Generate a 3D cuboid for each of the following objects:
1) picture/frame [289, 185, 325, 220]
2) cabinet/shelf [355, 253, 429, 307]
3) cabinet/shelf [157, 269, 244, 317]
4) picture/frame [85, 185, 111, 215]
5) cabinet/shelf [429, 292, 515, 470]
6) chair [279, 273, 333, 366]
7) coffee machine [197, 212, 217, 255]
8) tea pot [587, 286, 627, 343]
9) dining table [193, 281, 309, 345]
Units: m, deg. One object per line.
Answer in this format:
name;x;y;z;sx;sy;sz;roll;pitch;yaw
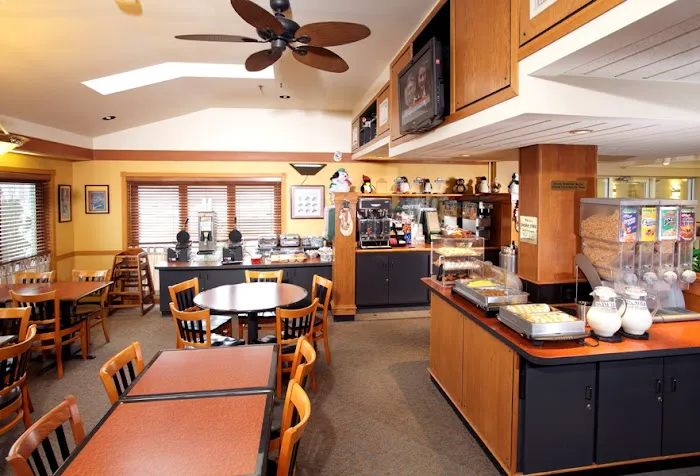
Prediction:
picture/frame;-0.778;-0.667;8.516;0.697;0.621;0.047;1;-1;-13
cabinet/shelf;0.624;0.637;7.611;0.995;0.650;0.360;0;-1;-11
cabinet/shelf;-2.308;0.954;7.321;1.374;0.605;0.730;0;0;-8
picture/frame;-4.272;-0.679;8.078;0.566;0.671;0.046;0;5;-13
cabinet/shelf;1.148;1.348;4.396;0.537;0.867;1.489;1;8;-7
chair;-0.448;0.932;6.202;0.935;1.266;0.822;2;-2;-14
coffee machine;-2.303;-0.093;7.728;0.307;0.691;0.183;-4;5;-16
tea pot;2.175;0.620;3.991;0.397;0.427;0.199;-5;5;-33
dining table;-1.062;0.682;5.374;0.896;0.517;0.886;-4;10;-31
